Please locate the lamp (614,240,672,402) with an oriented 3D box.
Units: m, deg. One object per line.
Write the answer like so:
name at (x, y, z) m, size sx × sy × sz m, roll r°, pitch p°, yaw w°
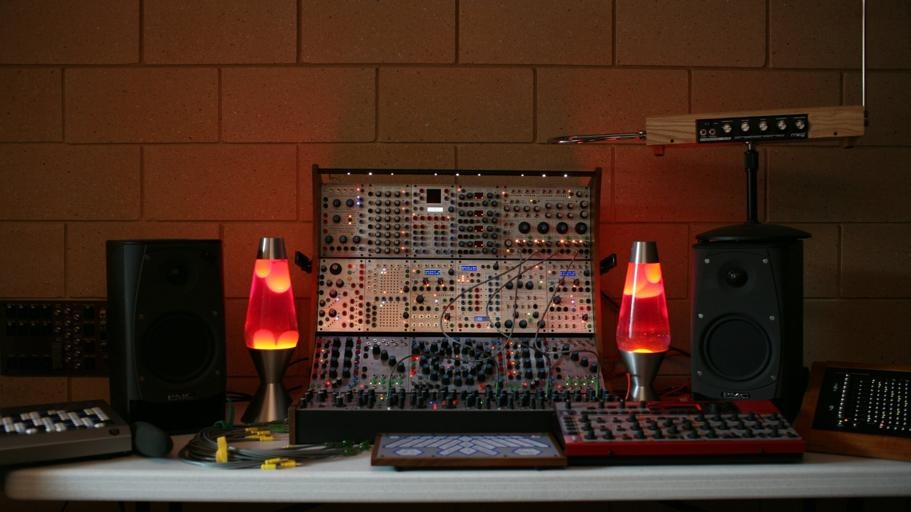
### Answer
lamp at (0.890, 0.308, 4.096) m, size 0.238 × 0.760 × 0.197 m, roll -4°, pitch 5°, yaw -43°
